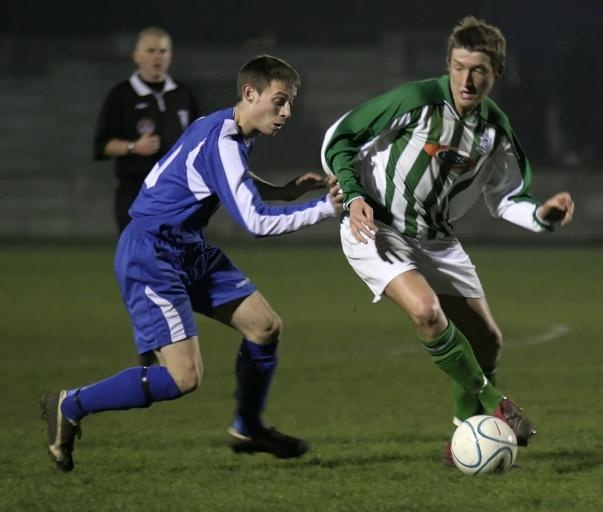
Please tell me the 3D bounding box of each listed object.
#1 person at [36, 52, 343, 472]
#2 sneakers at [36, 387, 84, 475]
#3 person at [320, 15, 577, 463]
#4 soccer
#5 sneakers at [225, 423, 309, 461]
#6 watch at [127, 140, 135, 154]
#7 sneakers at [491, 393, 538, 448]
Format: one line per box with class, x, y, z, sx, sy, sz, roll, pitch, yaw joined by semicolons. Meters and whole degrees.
person;-0.591;0.019;5.532;1.589;2.274;0.620;-1;10;-6
sneakers;-1.370;0.979;5.539;0.220;0.476;0.164;-7;1;26
person;0.757;-0.007;5.467;1.280;1.987;0.652;0;10;0
soccer;0.976;1.018;5.329;0.323;0.328;0.311;-13;-5;-33
sneakers;-0.193;1.080;5.624;0.478;0.195;0.174;-1;-8;8
watch;-1.188;-0.755;6.719;0.064;0.064;0.015;-12;3;24
sneakers;1.155;0.879;5.336;0.195;0.103;0.261;29;27;-43
